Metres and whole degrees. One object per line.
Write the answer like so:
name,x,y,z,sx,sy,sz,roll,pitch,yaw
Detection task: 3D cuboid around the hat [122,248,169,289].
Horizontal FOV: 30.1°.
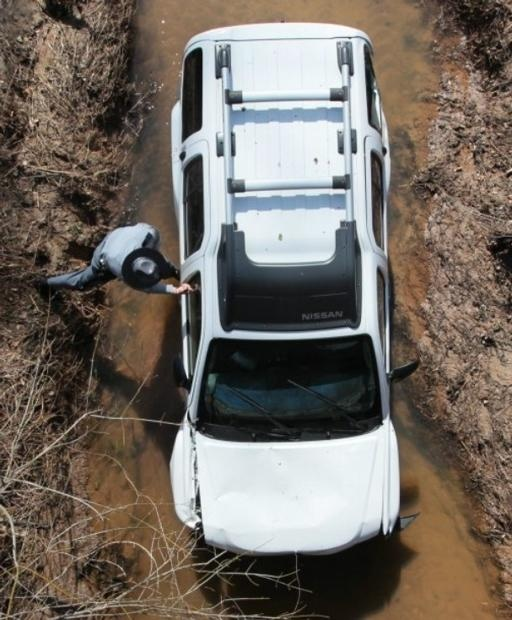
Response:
hat,-1.017,-0.389,8.693,0.343,0.135,0.371,39,86,-10

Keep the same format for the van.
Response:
van,0.341,-0.192,9.534,1.795,2.204,5.497,-2,90,2

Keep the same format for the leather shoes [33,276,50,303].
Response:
leather shoes,-2.176,-0.225,9.794,0.115,0.056,0.265,-4,95,-33
